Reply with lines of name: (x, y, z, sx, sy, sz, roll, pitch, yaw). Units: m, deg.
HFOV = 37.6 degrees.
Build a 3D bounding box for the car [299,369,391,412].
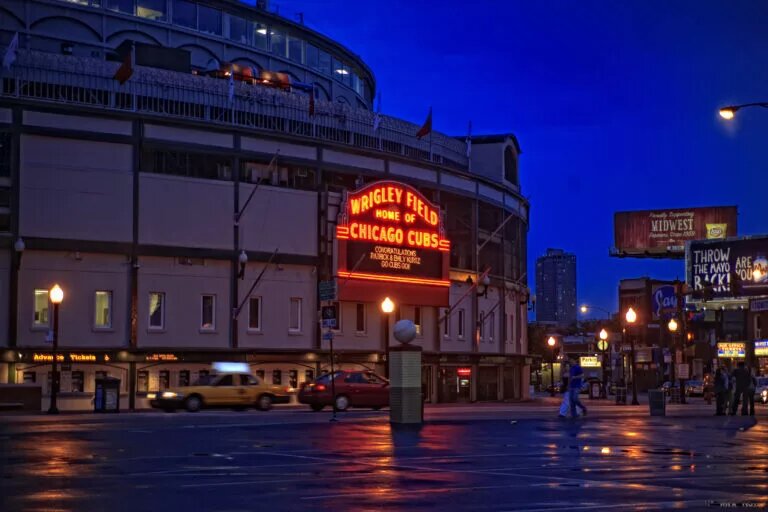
car: (-1.402, 7.036, 59.349, 6.283, 2.192, 2.770, 4, -7, -32)
